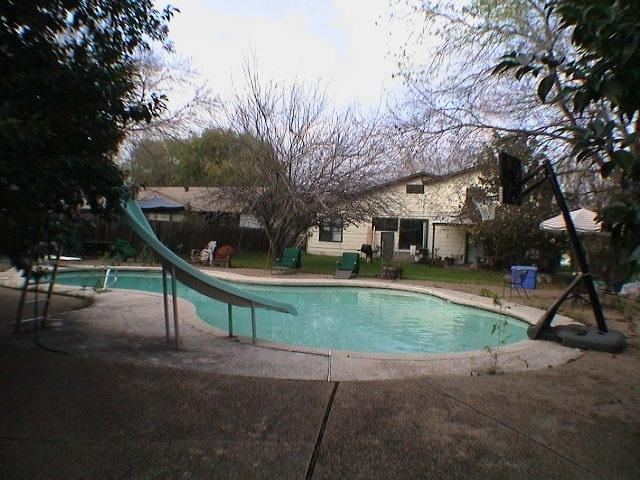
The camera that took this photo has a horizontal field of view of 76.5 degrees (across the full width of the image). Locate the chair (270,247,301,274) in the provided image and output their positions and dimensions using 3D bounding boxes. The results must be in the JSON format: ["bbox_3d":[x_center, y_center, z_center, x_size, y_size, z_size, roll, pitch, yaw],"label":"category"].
[{"bbox_3d":[-1.287,0.857,16.418,0.809,0.931,1.177,-1,0,21],"label":"chair"}]

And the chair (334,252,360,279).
[{"bbox_3d":[0.978,0.992,15.151,0.625,0.735,1.117,-1,-4,18],"label":"chair"}]

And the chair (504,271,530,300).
[{"bbox_3d":[5.861,1.242,11.846,0.428,0.539,0.616,13,-18,39],"label":"chair"}]
